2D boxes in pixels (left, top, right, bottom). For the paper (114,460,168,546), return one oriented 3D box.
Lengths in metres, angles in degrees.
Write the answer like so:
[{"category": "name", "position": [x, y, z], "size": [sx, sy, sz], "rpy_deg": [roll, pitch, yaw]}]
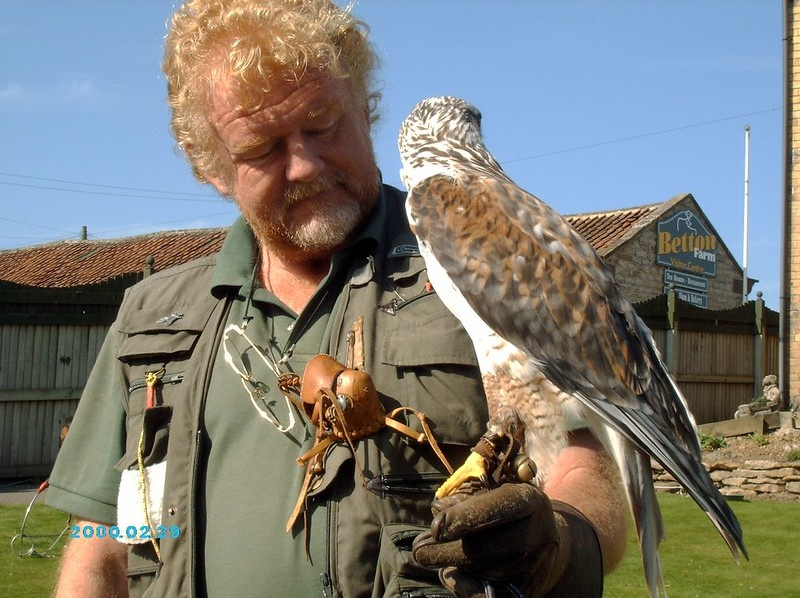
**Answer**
[{"category": "paper", "position": [-1.397, 1.110, 5.343], "size": [0.387, 0.483, 0.046], "rpy_deg": [-4, -10, 15]}]
